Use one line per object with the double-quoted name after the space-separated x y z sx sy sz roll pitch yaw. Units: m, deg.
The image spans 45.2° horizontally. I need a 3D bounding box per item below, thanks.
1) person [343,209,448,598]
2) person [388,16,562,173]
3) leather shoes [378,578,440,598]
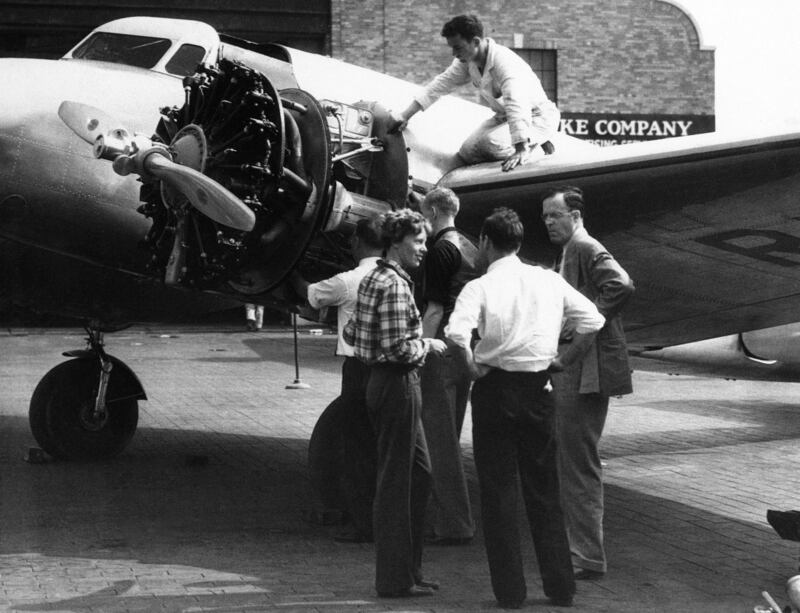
0.003 0.590 6.117 0.539 2.354 0.779 2 10 -17 "person"
0.776 -1.771 8.182 1.607 1.272 1.105 -6 16 -34 "person"
0.057 1.745 6.019 0.423 0.124 0.150 3 9 -11 "leather shoes"
